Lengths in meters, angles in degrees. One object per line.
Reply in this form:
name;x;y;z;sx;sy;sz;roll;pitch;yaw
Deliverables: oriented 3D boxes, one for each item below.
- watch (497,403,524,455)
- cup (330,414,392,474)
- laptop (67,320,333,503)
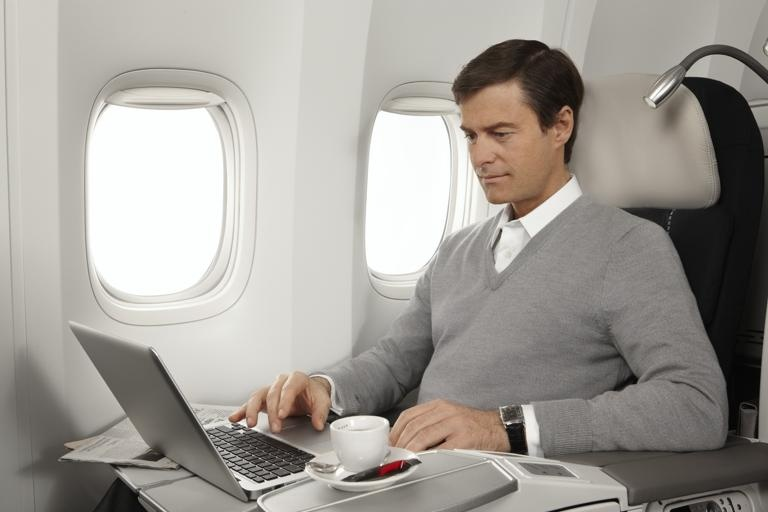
watch;0.314;0.414;1.382;0.070;0.097;0.106;0;3;-1
cup;-0.037;0.349;1.119;0.112;0.084;0.111;-3;-5;0
laptop;-0.424;0.386;1.425;0.486;0.286;0.471;-1;10;-40
